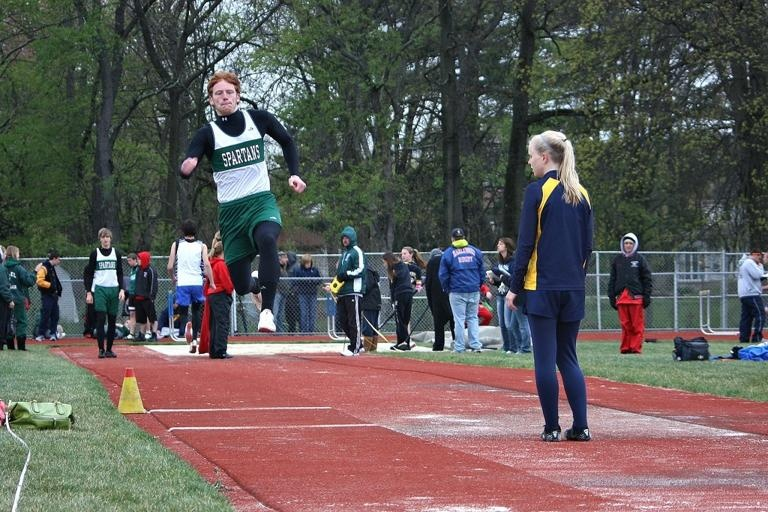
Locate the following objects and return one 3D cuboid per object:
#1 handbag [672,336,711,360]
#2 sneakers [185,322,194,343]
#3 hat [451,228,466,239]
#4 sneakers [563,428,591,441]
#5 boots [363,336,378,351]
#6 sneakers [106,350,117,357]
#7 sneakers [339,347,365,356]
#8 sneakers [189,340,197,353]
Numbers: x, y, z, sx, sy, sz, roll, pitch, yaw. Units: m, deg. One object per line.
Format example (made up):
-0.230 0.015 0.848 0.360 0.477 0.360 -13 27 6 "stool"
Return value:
8.228 2.524 36.752 0.618 0.567 0.784 1 -6 -12 "handbag"
-5.387 2.135 37.310 0.235 0.697 0.272 1 -1 -21 "sneakers"
2.117 -0.609 39.250 0.438 0.327 0.712 2 4 3 "hat"
4.164 3.870 29.183 0.229 0.286 0.573 -3 5 -41 "sneakers"
-0.436 2.635 40.391 0.411 0.449 0.387 2 -5 -6 "boots"
-7.465 2.660 36.793 0.254 0.217 0.543 -1 12 -8 "sneakers"
-0.854 2.675 37.287 0.686 0.295 0.243 7 -4 -27 "sneakers"
-5.317 2.533 37.435 0.156 0.172 0.400 0 -18 -9 "sneakers"
